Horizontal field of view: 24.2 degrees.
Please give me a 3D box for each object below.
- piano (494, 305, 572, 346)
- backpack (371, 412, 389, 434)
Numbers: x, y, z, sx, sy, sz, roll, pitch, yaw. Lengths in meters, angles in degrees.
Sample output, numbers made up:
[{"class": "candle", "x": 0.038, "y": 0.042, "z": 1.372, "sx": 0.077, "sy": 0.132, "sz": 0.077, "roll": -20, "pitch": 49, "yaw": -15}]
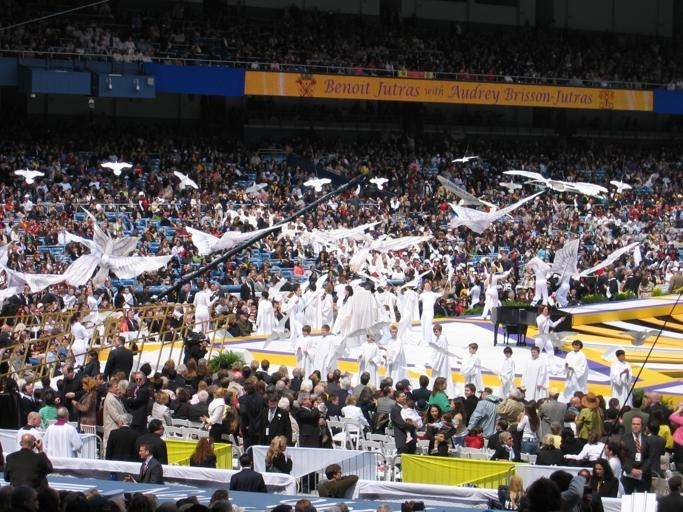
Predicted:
[{"class": "piano", "x": 6.924, "y": 2.632, "z": 59.684, "sx": 3.018, "sy": 1.438, "sz": 1.415, "roll": -1, "pitch": 8, "yaw": 26}, {"class": "backpack", "x": 1.222, "y": 5.294, "z": 50.536, "sx": 0.583, "sy": 0.683, "sz": 0.386, "roll": 4, "pitch": 4, "yaw": 14}]
